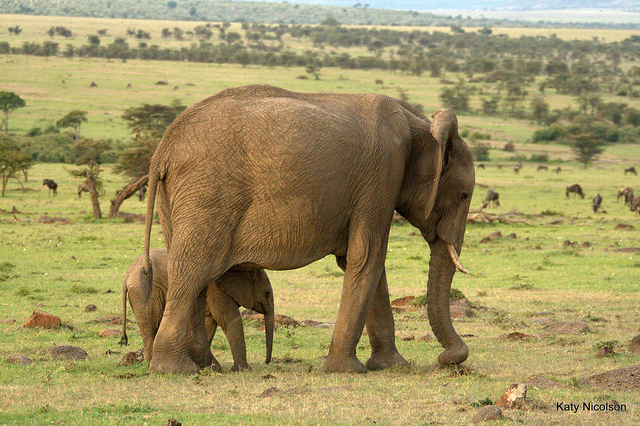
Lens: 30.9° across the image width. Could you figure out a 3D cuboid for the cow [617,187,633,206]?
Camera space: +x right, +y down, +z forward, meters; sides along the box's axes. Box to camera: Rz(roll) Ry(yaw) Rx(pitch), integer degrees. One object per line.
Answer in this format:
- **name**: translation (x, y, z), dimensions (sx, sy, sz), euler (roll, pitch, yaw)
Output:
- **cow**: translation (30.943, -1.805, 118.008), dimensions (1.237, 1.733, 3.204), euler (4, 11, 7)
